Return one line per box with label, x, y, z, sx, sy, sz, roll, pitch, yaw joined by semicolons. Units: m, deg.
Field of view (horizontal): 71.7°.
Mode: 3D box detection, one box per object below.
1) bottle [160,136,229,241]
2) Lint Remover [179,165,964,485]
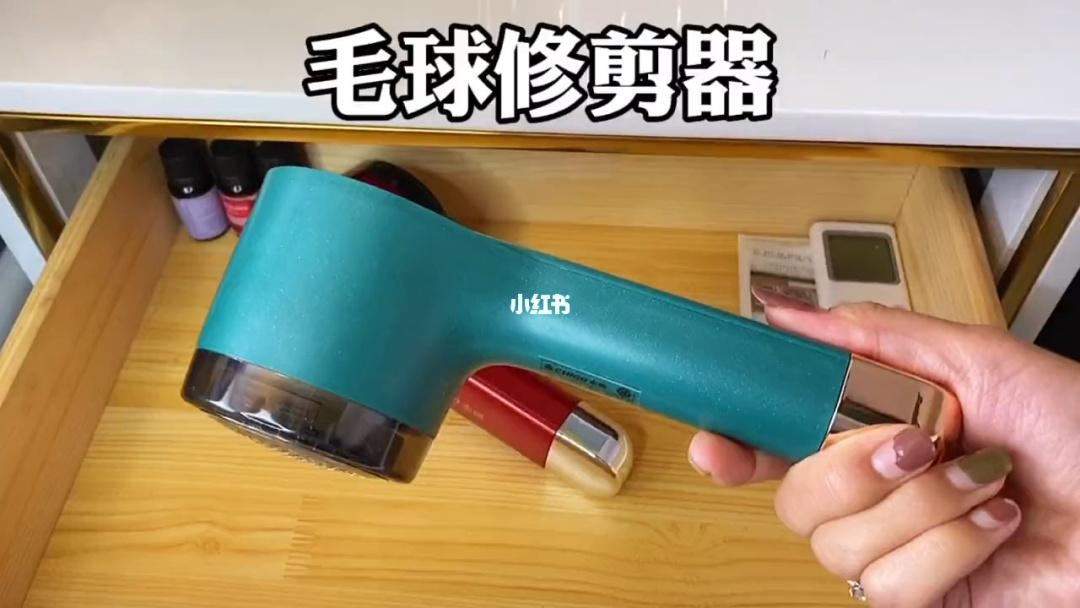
bottle;-0.428;-0.134;0.903;0.062;0.105;0.106;-13;28;-22
Lint Remover;0.036;0.025;0.689;0.679;0.172;0.241;16;88;-3
